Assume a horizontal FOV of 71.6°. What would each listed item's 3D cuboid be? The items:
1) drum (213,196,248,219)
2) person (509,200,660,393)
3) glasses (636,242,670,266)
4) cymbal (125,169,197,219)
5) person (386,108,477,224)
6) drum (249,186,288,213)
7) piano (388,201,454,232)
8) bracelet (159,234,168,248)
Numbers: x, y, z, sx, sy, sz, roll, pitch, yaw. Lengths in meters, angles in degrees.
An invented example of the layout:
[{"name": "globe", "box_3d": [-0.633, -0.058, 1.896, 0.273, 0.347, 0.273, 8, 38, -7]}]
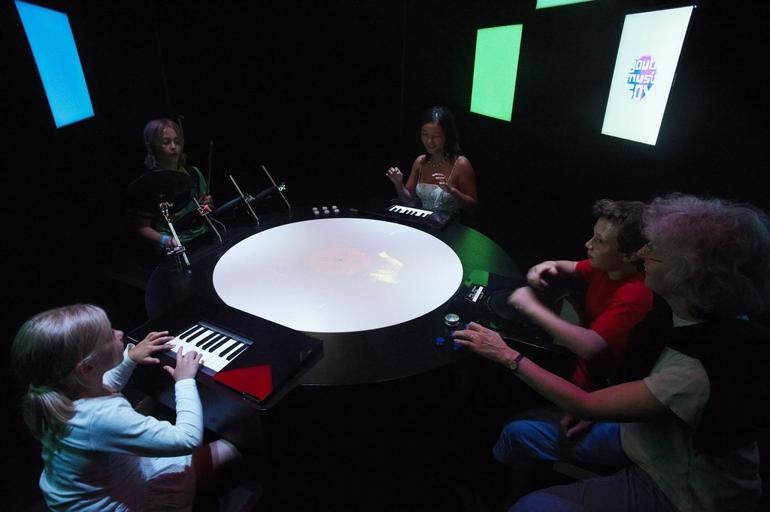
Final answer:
[{"name": "drum", "box_3d": [-1.432, -0.459, 4.969, 0.157, 0.143, 0.450, 7, 28, 11]}, {"name": "person", "box_3d": [1.461, 0.310, 3.848, 0.706, 1.329, 0.976, 11, 50, 13]}, {"name": "glasses", "box_3d": [1.622, -0.009, 3.198, 0.143, 0.047, 0.140, 1, 16, -17]}, {"name": "cymbal", "box_3d": [-1.855, -0.526, 4.474, 0.513, 0.386, 0.166, -10, 29, -21]}, {"name": "person", "box_3d": [0.547, -0.755, 5.924, 0.902, 1.626, 0.776, 12, 22, 40]}, {"name": "drum", "box_3d": [-1.123, -0.573, 5.316, 0.379, 0.131, 0.255, -30, 35, -25]}, {"name": "piano", "box_3d": [0.328, -0.390, 5.204, 0.476, 0.098, 0.290, 24, 39, 29]}, {"name": "bracelet", "box_3d": [-1.972, -0.135, 4.783, 0.082, 0.083, 0.196, -11, 30, -22]}]
